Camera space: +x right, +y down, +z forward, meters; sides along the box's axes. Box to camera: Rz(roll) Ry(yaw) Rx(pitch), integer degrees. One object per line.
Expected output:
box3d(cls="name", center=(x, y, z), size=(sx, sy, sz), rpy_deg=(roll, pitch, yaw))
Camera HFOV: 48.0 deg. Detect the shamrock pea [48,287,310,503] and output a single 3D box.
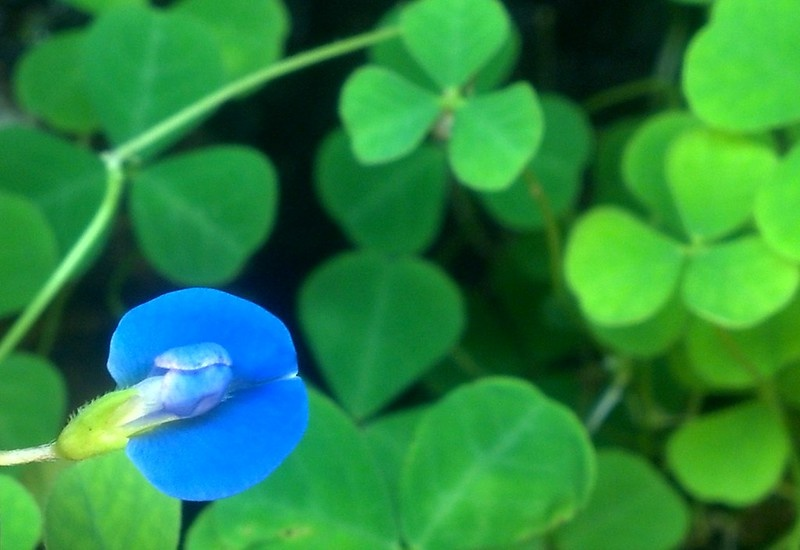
box3d(cls="shamrock pea", center=(-0.162, 0.099, 0.707), size=(0.168, 0.182, 0.061), rpy_deg=(-20, -3, -8))
